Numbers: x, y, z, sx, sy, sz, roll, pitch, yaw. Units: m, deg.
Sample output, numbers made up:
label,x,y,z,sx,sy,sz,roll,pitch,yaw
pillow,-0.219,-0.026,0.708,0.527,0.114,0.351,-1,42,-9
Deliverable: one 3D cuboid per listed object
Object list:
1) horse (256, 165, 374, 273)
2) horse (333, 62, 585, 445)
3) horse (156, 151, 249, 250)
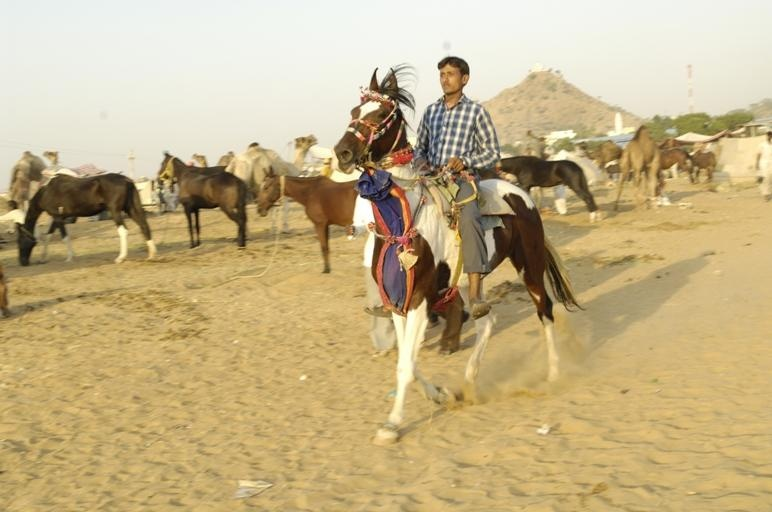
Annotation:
label,x,y,z,sx,sy,sz,roll,pitch,yaw
horse,-0.943,-0.811,13.781,4.516,2.142,1.022,1,4,30
horse,0.641,-0.427,6.745,1.924,3.375,4.780,8,21,24
horse,-5.487,-1.762,18.349,2.139,2.809,4.866,-8,8,-20
